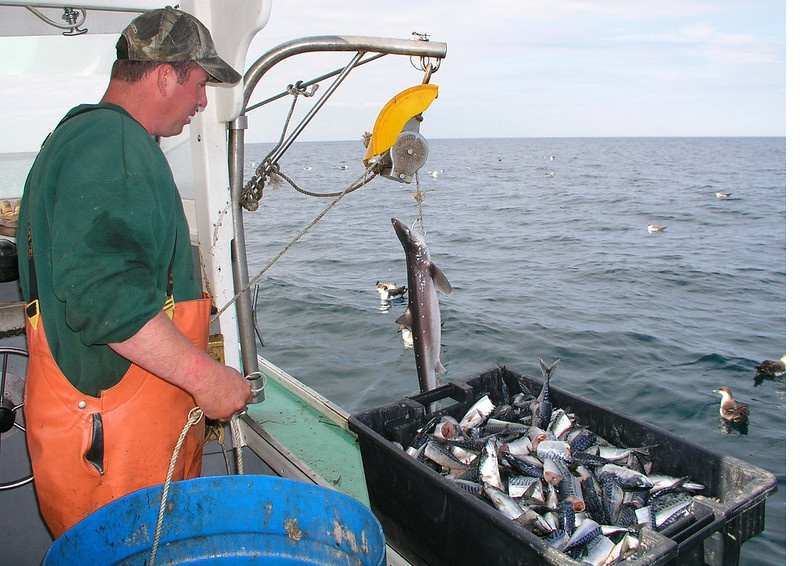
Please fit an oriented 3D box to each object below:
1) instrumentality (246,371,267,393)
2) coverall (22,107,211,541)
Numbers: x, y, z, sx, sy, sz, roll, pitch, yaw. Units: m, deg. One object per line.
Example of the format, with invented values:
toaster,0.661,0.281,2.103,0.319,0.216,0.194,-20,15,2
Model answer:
instrumentality,-1.039,0.723,4.364,0.137,0.136,0.147,-2,4,-2
coverall,-1.412,0.215,3.333,1.113,2.078,1.311,23,19,33
